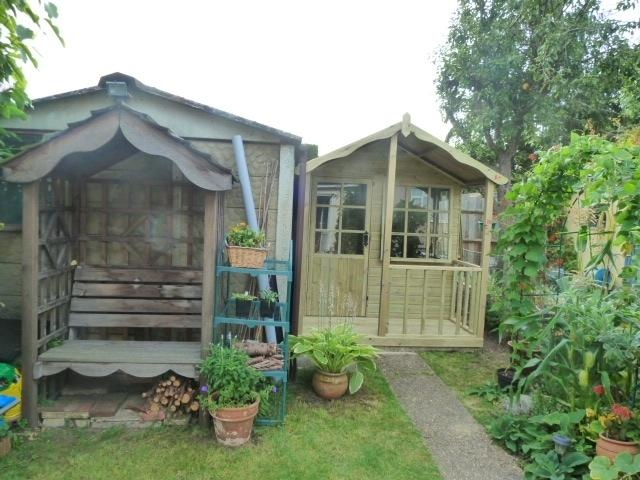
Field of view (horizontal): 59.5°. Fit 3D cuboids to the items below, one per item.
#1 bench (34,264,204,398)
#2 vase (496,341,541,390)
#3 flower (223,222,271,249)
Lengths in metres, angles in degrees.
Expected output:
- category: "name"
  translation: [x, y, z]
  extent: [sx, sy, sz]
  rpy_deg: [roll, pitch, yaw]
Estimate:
- category: "bench"
  translation: [-2.323, 1.066, 6.861]
  extent: [1.849, 1.145, 1.142]
  rpy_deg: [0, 8, -5]
- category: "vase"
  translation: [2.478, 1.646, 7.396]
  extent: [0.629, 0.671, 0.655]
  rpy_deg: [1, 1, 9]
- category: "flower"
  translation: [-0.897, -0.037, 6.669]
  extent: [0.363, 0.247, 0.367]
  rpy_deg: [9, 3, -13]
